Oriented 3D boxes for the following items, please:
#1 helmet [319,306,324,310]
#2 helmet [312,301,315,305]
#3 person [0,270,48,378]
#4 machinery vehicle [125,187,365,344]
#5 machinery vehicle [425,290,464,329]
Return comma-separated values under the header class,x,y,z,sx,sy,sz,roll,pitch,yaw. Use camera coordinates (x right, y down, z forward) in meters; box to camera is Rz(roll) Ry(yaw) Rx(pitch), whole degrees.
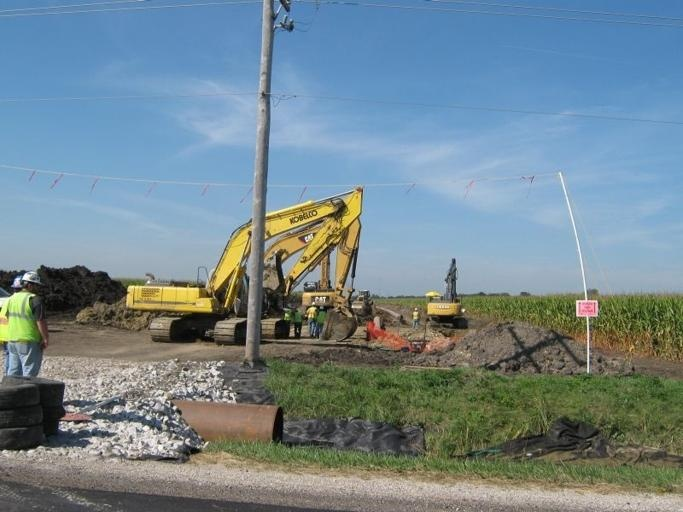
class,x,y,z,sx,sy,sz,roll,pitch,yaw
helmet,-0.874,2.409,28.876,0.136,0.107,0.131,-3,5,-38
helmet,-1.258,2.253,29.097,0.127,0.115,0.121,0,-5,6
person,-5.779,1.272,11.536,1.011,1.886,0.430,5,3,20
machinery vehicle,-2.578,0.345,24.819,6.857,6.448,7.867,6,3,36
machinery vehicle,6.327,3.252,38.675,2.549,1.889,4.225,-2,-1,3
